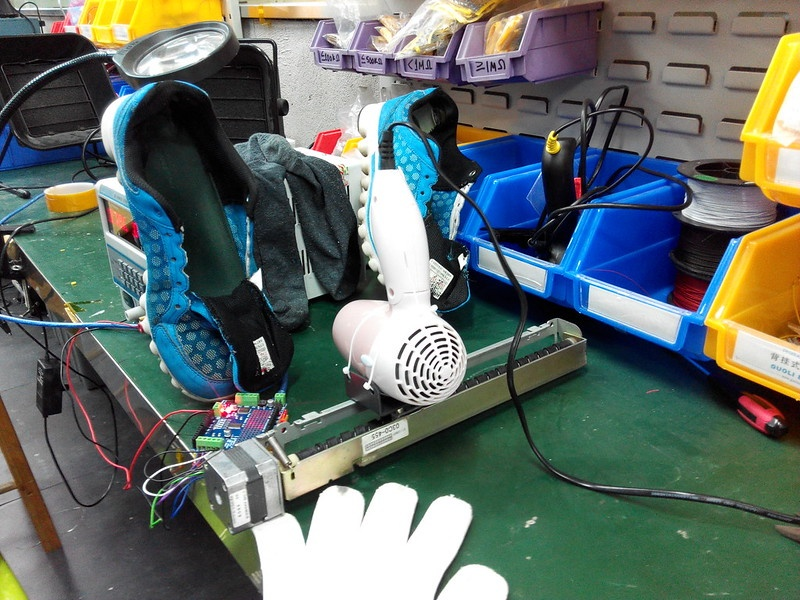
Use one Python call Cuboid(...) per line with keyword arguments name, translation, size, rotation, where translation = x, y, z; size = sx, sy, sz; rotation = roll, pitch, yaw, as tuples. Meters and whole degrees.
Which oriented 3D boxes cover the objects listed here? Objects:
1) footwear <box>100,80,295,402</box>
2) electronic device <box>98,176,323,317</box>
Cuboid(name="footwear", translation=(-0.330, -0.082, 1.052), size=(0.245, 0.630, 0.237), rotation=(-17, -5, -39))
Cuboid(name="electronic device", translation=(-0.382, -0.087, 1.198), size=(0.292, 0.390, 0.398), rotation=(-14, 21, -24))
